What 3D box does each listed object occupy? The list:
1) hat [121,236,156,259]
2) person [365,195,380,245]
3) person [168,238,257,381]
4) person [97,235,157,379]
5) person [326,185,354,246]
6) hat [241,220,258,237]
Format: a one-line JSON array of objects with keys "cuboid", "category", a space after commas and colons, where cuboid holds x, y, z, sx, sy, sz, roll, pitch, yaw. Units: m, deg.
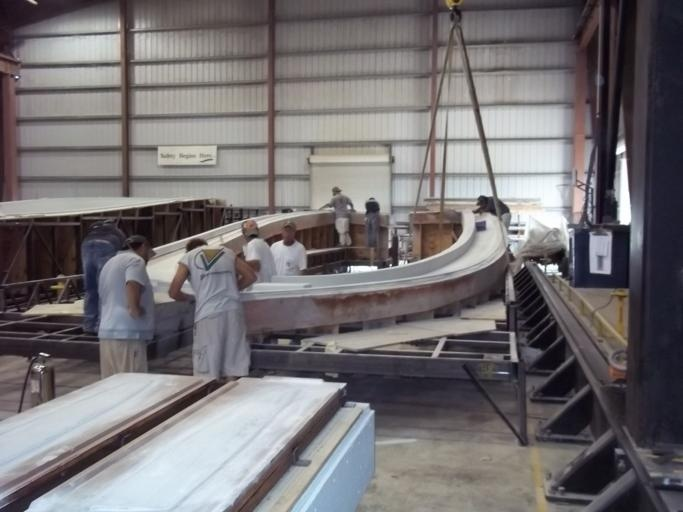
[{"cuboid": [-1.925, -0.028, 7.880, 0.227, 0.219, 0.339, 17, 4, 37], "category": "hat"}, {"cuboid": [0.559, -0.582, 14.918, 0.237, 0.985, 0.562, -1, 13, 2], "category": "person"}, {"cuboid": [-1.178, 0.638, 7.739, 0.650, 1.886, 0.565, -3, -28, -15], "category": "person"}, {"cuboid": [-2.049, 0.510, 7.725, 0.539, 1.331, 0.495, -5, 13, -19], "category": "person"}, {"cuboid": [-0.026, -0.744, 15.788, 0.479, 1.084, 0.609, 0, 13, 4], "category": "person"}, {"cuboid": [-0.982, -0.295, 8.761, 0.126, 0.217, 0.209, 2, 21, 9], "category": "hat"}]
